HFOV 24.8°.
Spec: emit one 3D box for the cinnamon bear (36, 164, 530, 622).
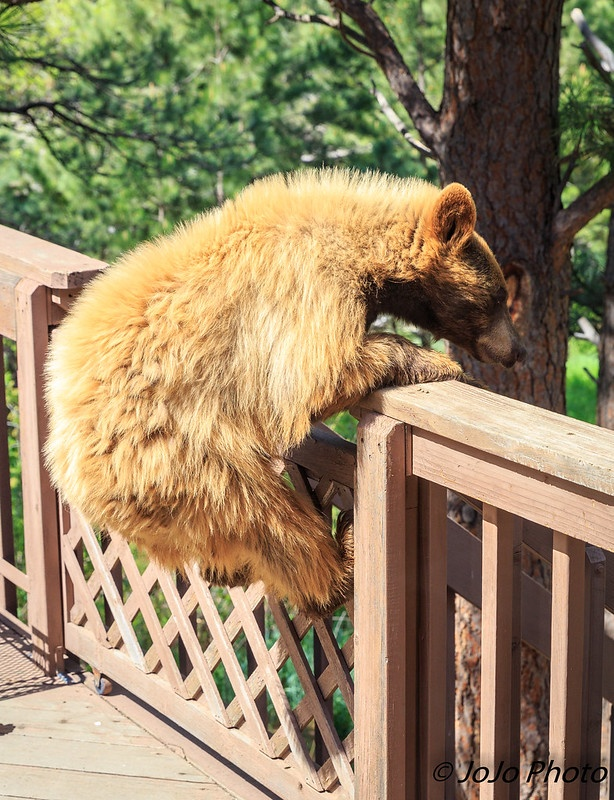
[{"bbox_3d":[-0.022,-0.193,4.188,1.351,1.358,0.876,-25,16,0],"label":"cinnamon bear"}]
